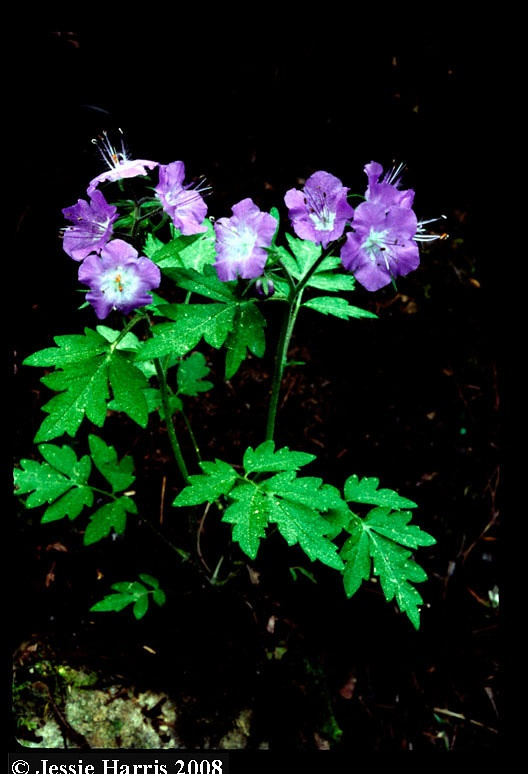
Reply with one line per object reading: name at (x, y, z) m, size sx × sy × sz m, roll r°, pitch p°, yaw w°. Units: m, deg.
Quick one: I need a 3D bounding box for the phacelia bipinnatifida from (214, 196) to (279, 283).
phacelia bipinnatifida at (-0.049, -0.364, 1.805) m, size 0.241 × 0.254 × 0.086 m, roll 0°, pitch 0°, yaw 17°

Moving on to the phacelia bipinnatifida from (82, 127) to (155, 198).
phacelia bipinnatifida at (-0.394, -0.584, 1.784) m, size 0.173 × 0.107 × 0.174 m, roll -13°, pitch -1°, yaw -5°

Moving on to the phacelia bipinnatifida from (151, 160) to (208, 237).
phacelia bipinnatifida at (-0.261, -0.510, 1.874) m, size 0.191 × 0.204 × 0.109 m, roll -12°, pitch 2°, yaw -42°

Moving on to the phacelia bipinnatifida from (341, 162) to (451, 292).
phacelia bipinnatifida at (0.358, -0.442, 1.839) m, size 0.228 × 0.338 × 0.321 m, roll 10°, pitch 12°, yaw 12°
